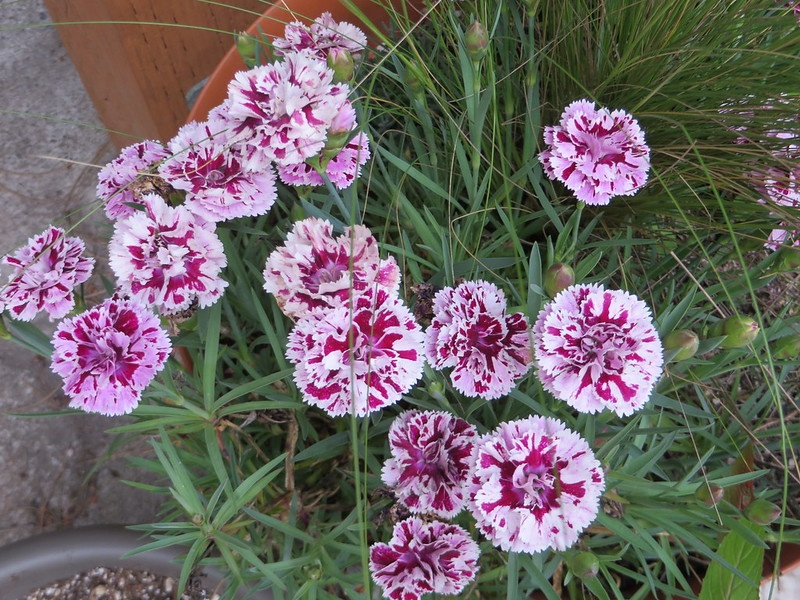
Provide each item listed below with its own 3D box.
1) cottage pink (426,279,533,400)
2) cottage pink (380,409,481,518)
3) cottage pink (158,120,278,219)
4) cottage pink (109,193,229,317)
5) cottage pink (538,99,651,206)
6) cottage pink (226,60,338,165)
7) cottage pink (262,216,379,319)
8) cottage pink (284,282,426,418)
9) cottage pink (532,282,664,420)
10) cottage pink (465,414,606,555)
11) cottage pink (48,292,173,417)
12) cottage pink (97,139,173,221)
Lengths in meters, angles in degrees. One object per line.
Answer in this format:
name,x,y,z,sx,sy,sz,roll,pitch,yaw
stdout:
cottage pink,0.129,0.072,1.322,0.167,0.116,0.192,-40,69,-18
cottage pink,0.052,0.257,1.329,0.172,0.167,0.078,-16,107,-35
cottage pink,-0.322,-0.218,1.363,0.184,0.067,0.180,49,52,5
cottage pink,-0.394,-0.070,1.335,0.189,0.095,0.179,25,66,13
cottage pink,0.365,-0.270,1.428,0.184,0.094,0.198,-39,69,-17
cottage pink,-0.223,-0.370,1.360,0.163,0.091,0.182,6,25,33
cottage pink,-0.127,-0.067,1.354,0.185,0.172,0.085,1,65,-29
cottage pink,-0.088,0.062,1.288,0.108,0.175,0.195,38,51,-24
cottage pink,0.322,0.072,1.284,0.094,0.182,0.173,42,80,-14
cottage pink,0.217,0.270,1.242,0.214,0.091,0.222,5,83,-1
cottage pink,-0.486,0.117,1.343,0.199,0.208,0.115,11,50,-45
cottage pink,-0.490,-0.218,1.488,0.156,0.077,0.156,-22,54,-13
